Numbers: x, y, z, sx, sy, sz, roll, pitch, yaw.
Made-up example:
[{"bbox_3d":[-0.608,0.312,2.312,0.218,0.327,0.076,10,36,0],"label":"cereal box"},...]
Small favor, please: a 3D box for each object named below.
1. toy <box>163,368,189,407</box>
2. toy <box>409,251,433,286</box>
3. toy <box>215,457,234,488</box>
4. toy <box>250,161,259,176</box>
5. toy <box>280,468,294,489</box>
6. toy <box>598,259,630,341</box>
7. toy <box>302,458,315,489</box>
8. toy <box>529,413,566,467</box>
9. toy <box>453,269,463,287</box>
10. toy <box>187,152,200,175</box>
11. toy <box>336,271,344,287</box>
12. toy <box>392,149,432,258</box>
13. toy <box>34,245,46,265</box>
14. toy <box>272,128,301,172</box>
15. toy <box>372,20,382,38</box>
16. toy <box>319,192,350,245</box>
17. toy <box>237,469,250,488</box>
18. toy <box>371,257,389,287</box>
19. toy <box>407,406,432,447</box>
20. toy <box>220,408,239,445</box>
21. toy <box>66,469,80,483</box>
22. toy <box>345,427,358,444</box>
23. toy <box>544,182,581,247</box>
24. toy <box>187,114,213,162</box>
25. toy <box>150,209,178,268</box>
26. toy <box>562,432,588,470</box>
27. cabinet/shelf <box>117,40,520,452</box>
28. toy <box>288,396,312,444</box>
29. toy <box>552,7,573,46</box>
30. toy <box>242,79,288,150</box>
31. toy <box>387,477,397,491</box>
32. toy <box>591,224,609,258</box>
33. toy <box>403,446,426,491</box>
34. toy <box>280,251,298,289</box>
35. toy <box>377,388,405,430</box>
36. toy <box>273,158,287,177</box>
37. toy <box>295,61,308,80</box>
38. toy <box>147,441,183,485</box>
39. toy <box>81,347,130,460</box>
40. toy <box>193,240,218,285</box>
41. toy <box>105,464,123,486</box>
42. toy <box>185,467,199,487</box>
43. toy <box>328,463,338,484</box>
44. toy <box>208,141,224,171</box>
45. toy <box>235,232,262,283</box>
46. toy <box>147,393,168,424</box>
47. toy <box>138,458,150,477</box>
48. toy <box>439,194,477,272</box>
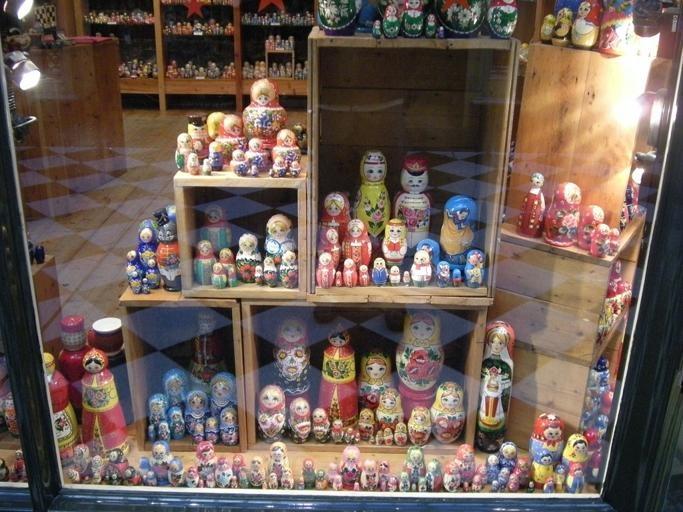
[{"bbox_3d":[-0.704,0.571,2.483,0.102,0.170,0.103,-4,6,-17],"label":"toy"},{"bbox_3d":[0.316,0.042,2.292,0.096,0.155,0.092,7,26,16],"label":"toy"},{"bbox_3d":[-0.401,0.788,2.095,0.065,0.105,0.068,4,-34,-9],"label":"toy"},{"bbox_3d":[-0.327,-0.327,2.172,0.042,0.063,0.043,-2,6,-21],"label":"toy"},{"bbox_3d":[-0.193,0.796,2.065,0.057,0.092,0.053,3,-18,-6],"label":"toy"},{"bbox_3d":[0.995,0.149,2.124,0.084,0.281,0.221,11,7,10],"label":"toy"},{"bbox_3d":[-0.120,0.823,2.172,0.063,0.061,0.099,1,35,-2],"label":"toy"},{"bbox_3d":[0.819,0.750,2.336,0.126,0.236,0.135,3,12,5],"label":"toy"},{"bbox_3d":[0.453,0.090,2.275,0.039,0.078,0.043,8,27,16],"label":"toy"},{"bbox_3d":[-0.550,-0.339,2.158,0.039,0.079,0.054,5,26,3],"label":"toy"},{"bbox_3d":[-0.012,0.093,2.251,0.027,0.056,0.018,1,5,1],"label":"toy"},{"bbox_3d":[0.293,-0.199,2.381,0.153,0.434,0.127,-1,34,3],"label":"toy"},{"bbox_3d":[-0.932,-0.001,1.798,0.038,0.062,0.059,2,-14,-18],"label":"toy"},{"bbox_3d":[-0.191,-0.376,2.219,0.112,0.189,0.114,-5,-10,5],"label":"toy"},{"bbox_3d":[0.124,-0.800,2.046,0.033,0.064,0.093,-1,16,1],"label":"toy"},{"bbox_3d":[-0.027,-0.161,2.368,0.132,0.235,0.132,8,26,10],"label":"toy"},{"bbox_3d":[-0.343,0.803,2.082,0.037,0.059,0.055,0,-14,-2],"label":"toy"},{"bbox_3d":[0.152,0.061,2.283,0.068,0.107,0.055,-4,15,-9],"label":"toy"},{"bbox_3d":[0.330,0.716,2.458,0.106,0.164,0.092,5,19,9],"label":"toy"},{"bbox_3d":[-0.449,0.734,2.460,0.089,0.150,0.084,-3,-10,-1],"label":"toy"},{"bbox_3d":[-0.835,0.691,1.814,0.013,0.031,0.042,-15,55,-32],"label":"toy"},{"bbox_3d":[0.043,0.764,2.439,0.067,0.074,0.043,-5,19,-9],"label":"toy"},{"bbox_3d":[0.874,-0.158,2.300,0.132,0.240,0.071,5,16,23],"label":"toy"},{"bbox_3d":[-0.526,-0.458,2.255,0.090,0.162,0.098,-3,15,-4],"label":"toy"},{"bbox_3d":[-0.687,-0.038,2.314,0.110,0.280,0.109,-1,9,-2],"label":"toy"},{"bbox_3d":[0.855,0.737,2.196,0.084,0.131,0.091,5,-8,4],"label":"toy"},{"bbox_3d":[-0.092,-0.074,2.287,1.395,1.580,0.493,0,15,-1],"label":"cabinet/shelf"},{"bbox_3d":[-0.201,0.716,2.463,0.113,0.203,0.113,13,-20,-42],"label":"toy"},{"bbox_3d":[0.848,-0.875,2.230,0.062,0.140,0.064,11,6,3],"label":"toy"},{"bbox_3d":[-0.296,-0.554,2.232,0.171,0.267,0.173,26,38,33],"label":"toy"},{"bbox_3d":[0.179,0.802,2.036,0.037,0.056,0.055,1,-10,-3],"label":"toy"},{"bbox_3d":[0.994,-0.053,2.236,0.064,0.129,0.041,5,6,-6],"label":"toy"},{"bbox_3d":[0.289,0.823,2.239,0.098,0.184,0.104,-3,14,-6],"label":"toy"},{"bbox_3d":[-0.208,0.053,2.302,0.076,0.147,0.080,-1,3,0],"label":"toy"},{"bbox_3d":[0.202,0.653,2.483,0.126,0.209,0.121,7,25,12],"label":"toy"},{"bbox_3d":[-0.227,-0.326,2.153,0.057,0.064,0.060,-2,14,-5],"label":"toy"},{"bbox_3d":[-0.141,-0.670,2.086,0.051,0.077,0.038,15,34,19],"label":"toy"},{"bbox_3d":[-0.633,0.747,2.118,0.137,0.147,0.081,3,-2,-2],"label":"toy"},{"bbox_3d":[-0.948,0.587,2.291,0.180,0.431,0.216,-14,20,-40],"label":"toy"},{"bbox_3d":[-0.540,0.011,2.327,0.100,0.187,0.104,9,32,3],"label":"toy"},{"bbox_3d":[-0.757,0.737,1.934,0.036,0.055,0.050,-1,-18,-6],"label":"toy"},{"bbox_3d":[-0.519,0.781,2.026,0.041,0.066,0.070,2,-11,-7],"label":"toy"},{"bbox_3d":[-0.033,0.828,2.189,0.040,0.067,0.040,4,-19,-9],"label":"toy"},{"bbox_3d":[-0.475,-0.375,2.202,0.055,0.108,0.052,-3,15,-6],"label":"toy"},{"bbox_3d":[-0.376,0.008,2.352,0.105,0.208,0.109,3,4,-4],"label":"toy"},{"bbox_3d":[-0.765,0.646,2.421,0.078,0.133,0.082,12,-5,1],"label":"toy"},{"bbox_3d":[-0.702,0.758,2.080,0.036,0.045,0.038,1,-6,-12],"label":"toy"},{"bbox_3d":[0.459,-0.093,2.288,0.144,0.272,0.074,2,15,11],"label":"toy"}]
